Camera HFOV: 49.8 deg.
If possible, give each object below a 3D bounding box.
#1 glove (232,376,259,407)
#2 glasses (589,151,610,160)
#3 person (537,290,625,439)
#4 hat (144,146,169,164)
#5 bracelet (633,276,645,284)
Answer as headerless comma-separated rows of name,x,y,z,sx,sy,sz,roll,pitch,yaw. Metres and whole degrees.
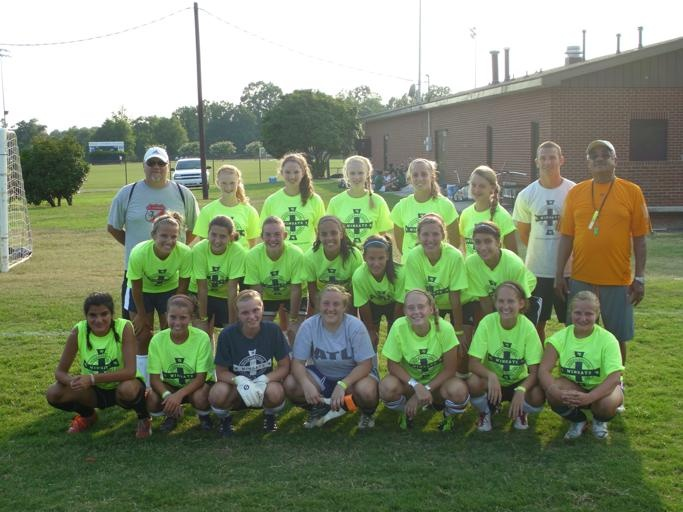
glove,-0.840,1.199,6.535,0.165,0.284,0.090,-34,-10,21
glasses,2.364,-0.930,6.753,0.192,0.086,0.059,1,8,18
person,2.090,0.938,6.474,0.700,1.236,0.484,1,8,20
hat,-1.925,-1.057,7.650,0.232,0.196,0.368,0,3,-13
bracelet,2.756,0.217,6.850,0.111,0.071,0.115,0,1,2
